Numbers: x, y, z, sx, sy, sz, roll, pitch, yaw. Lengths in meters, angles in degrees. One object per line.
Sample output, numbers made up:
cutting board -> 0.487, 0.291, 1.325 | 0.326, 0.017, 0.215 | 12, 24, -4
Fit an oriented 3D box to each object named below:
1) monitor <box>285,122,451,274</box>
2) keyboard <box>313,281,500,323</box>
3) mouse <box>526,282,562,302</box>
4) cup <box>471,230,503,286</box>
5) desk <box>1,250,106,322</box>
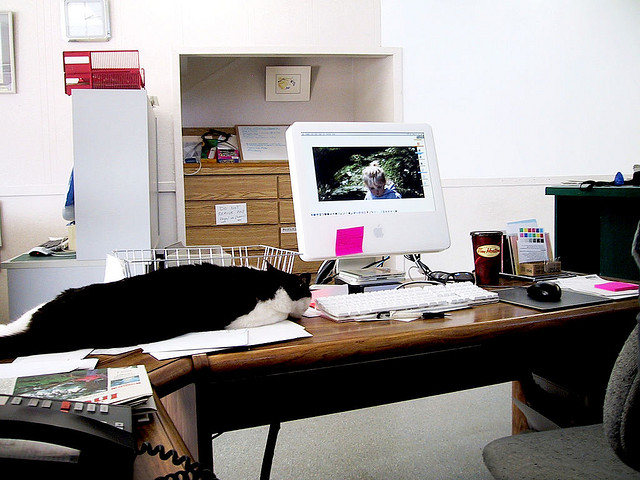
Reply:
monitor -> 0.234, -0.168, 1.685 | 0.593, 0.521, 0.284 | 5, 37, 41
keyboard -> 0.252, 0.175, 1.404 | 0.509, 0.042, 0.161 | -4, 9, -17
mouse -> 0.638, 0.150, 1.410 | 0.046, 0.024, 0.077 | -9, 12, -28
cup -> 0.571, 0.060, 1.690 | 0.139, 0.176, 0.136 | -4, -1, 0
desk -> -1.106, 0.175, 2.059 | 0.407, 0.357, 0.263 | -1, 2, -21
